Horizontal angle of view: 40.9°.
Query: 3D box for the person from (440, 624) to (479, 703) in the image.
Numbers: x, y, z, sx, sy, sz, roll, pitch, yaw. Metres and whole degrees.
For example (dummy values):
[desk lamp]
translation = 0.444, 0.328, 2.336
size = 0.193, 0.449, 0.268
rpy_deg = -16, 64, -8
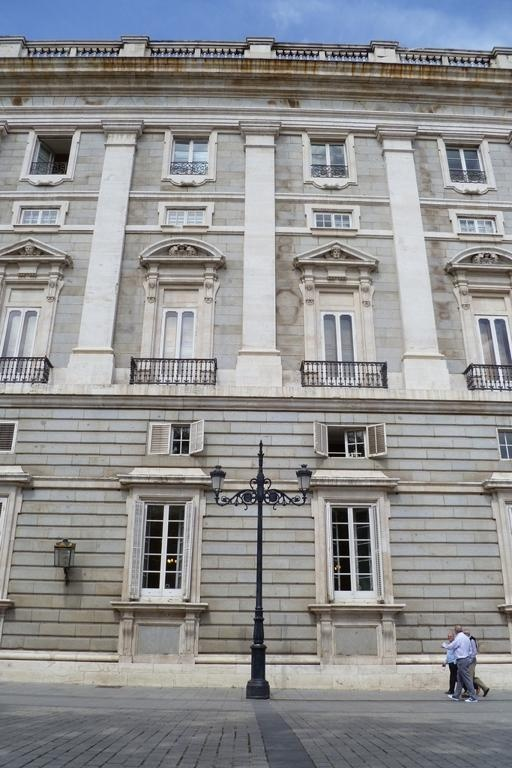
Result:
[person]
translation = 4.000, 5.534, 13.504
size = 0.569, 1.433, 1.320
rpy_deg = -7, -32, 13
